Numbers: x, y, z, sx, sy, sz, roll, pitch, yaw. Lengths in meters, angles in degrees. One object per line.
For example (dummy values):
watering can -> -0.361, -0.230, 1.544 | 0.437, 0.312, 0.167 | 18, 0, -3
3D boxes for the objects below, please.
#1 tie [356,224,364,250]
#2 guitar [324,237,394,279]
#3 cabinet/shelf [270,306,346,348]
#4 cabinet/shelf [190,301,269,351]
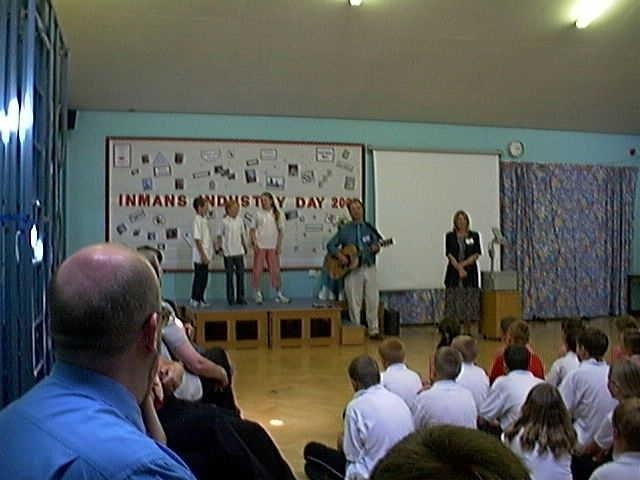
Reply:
tie -> 0.530, -0.052, 8.066 | 0.031, 0.253, 0.101 | -2, -3, -35
guitar -> 0.477, 0.230, 8.051 | 0.989, 0.454, 0.135 | -28, -19, 38
cabinet/shelf -> -0.282, 1.129, 7.705 | 0.894, 0.451, 0.965 | -3, -9, -5
cabinet/shelf -> -1.097, 1.036, 7.286 | 0.774, 0.464, 0.805 | 2, -4, -27
